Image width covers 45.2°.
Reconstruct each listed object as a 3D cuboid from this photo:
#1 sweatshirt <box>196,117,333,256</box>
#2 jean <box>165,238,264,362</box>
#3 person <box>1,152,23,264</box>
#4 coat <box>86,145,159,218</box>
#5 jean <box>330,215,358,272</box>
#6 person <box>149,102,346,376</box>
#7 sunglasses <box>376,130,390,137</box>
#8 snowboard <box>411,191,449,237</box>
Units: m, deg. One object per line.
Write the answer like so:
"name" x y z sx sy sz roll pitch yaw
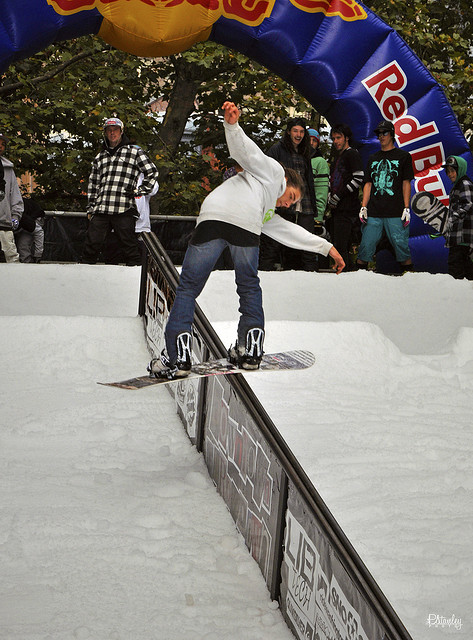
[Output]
"sweatshirt" 0.132 -0.779 3.443 0.363 0.692 0.865 12 14 28
"jean" -0.109 -0.165 3.285 0.582 0.975 0.243 1 40 -5
"person" -2.939 -1.394 7.312 0.238 1.315 0.528 3 12 -7
"coat" -1.459 -1.688 7.010 0.899 0.949 0.345 2 -5 12
"jean" 1.467 -1.030 7.793 0.390 0.761 0.514 3 12 -10
"person" 0.027 -0.401 3.260 0.871 1.516 0.511 -6 17 -43
"sunglasses" 1.886 -2.418 7.410 0.189 0.088 0.097 14 15 38
"snowboard" 2.871 -1.599 8.512 0.545 0.596 0.389 8 12 15
